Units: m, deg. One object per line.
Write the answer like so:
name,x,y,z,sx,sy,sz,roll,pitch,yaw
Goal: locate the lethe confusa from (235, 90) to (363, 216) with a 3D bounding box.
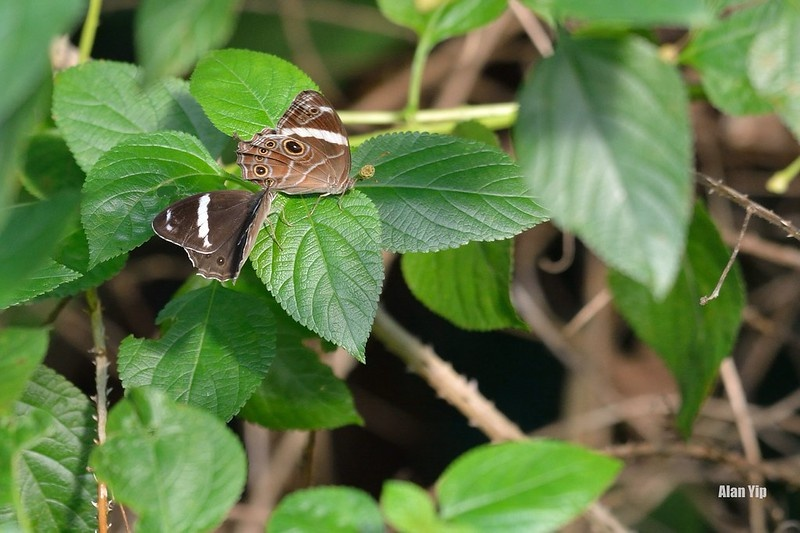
lethe confusa,-0.129,-0.135,1.064,0.195,0.122,0.204,8,-15,-15
